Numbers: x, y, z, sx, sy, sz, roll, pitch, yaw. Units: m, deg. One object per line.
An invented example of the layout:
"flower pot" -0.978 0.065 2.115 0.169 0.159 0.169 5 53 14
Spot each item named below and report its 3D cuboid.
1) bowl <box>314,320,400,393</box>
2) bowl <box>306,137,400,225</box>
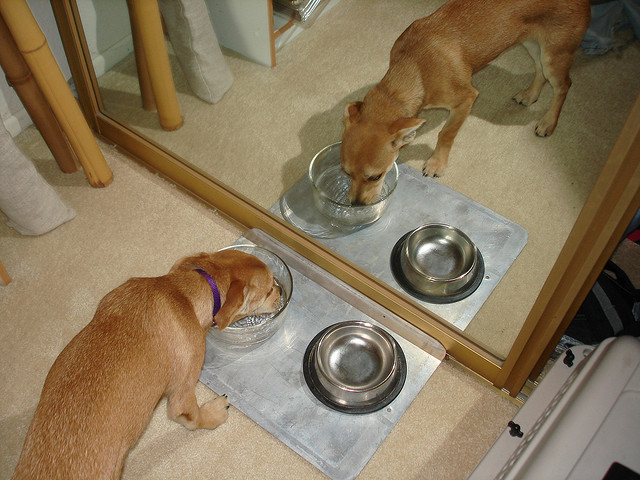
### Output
"bowl" 0.129 0.421 1.841 0.296 0.076 0.265 -4 67 -7
"bowl" 0.111 -0.213 1.822 0.275 0.319 0.316 7 79 4
